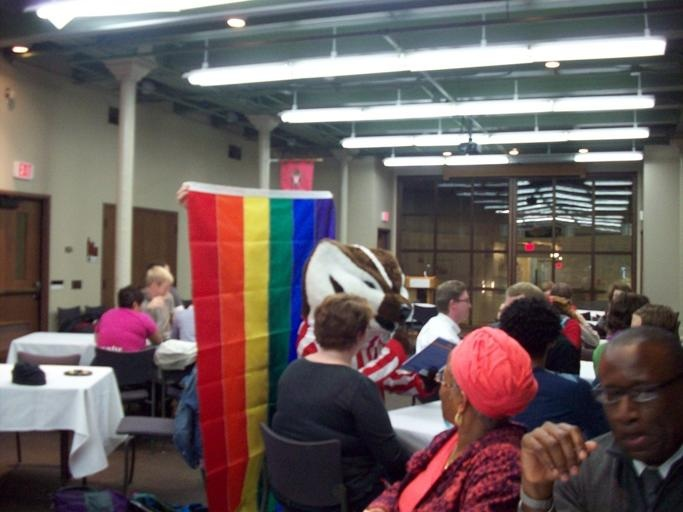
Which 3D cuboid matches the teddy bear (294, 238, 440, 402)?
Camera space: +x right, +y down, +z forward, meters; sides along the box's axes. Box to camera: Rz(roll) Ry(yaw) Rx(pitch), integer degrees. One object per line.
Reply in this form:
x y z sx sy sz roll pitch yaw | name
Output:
0.203 0.553 4.092 0.917 1.348 0.729 -4 6 -36 | teddy bear

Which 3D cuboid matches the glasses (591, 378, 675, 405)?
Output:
0.932 0.424 1.959 0.258 0.109 0.042 3 -1 11 | glasses

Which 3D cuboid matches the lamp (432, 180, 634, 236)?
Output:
4.161 -0.961 12.635 3.141 1.187 0.360 3 -1 11 | lamp

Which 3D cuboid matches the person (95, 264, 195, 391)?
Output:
-1.906 0.547 6.196 0.779 0.902 1.119 6 -10 -19 | person
